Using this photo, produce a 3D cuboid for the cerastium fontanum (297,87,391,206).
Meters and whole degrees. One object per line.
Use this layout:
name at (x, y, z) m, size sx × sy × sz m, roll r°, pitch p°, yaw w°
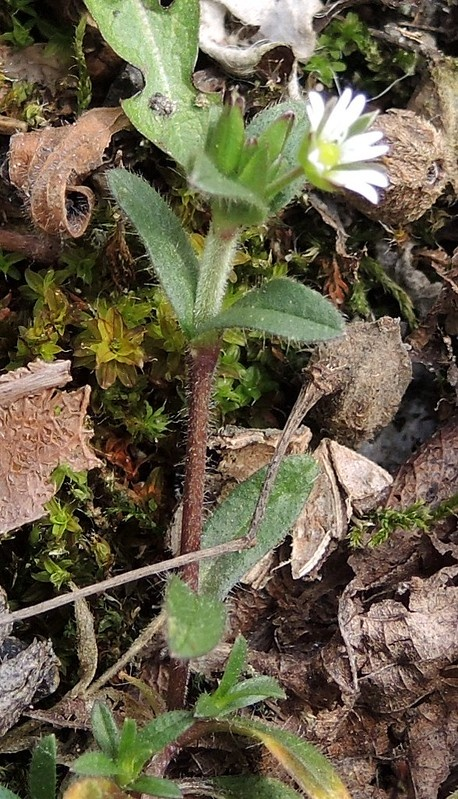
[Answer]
cerastium fontanum at (0.222, -0.483, 1.330) m, size 0.161 × 0.137 × 0.255 m, roll 15°, pitch 37°, yaw -1°
